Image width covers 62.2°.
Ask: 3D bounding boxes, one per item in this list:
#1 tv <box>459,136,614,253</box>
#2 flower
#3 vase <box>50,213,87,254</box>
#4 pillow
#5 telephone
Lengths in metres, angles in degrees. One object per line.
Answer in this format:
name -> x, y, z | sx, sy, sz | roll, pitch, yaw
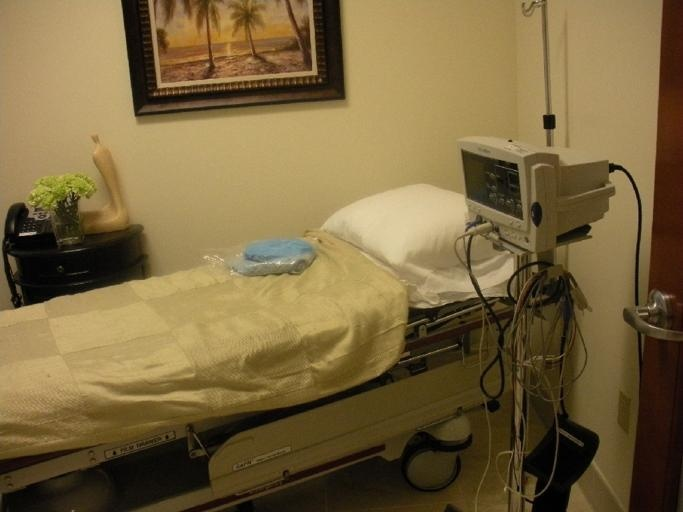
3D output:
tv -> 0.661, -0.252, 1.920 | 0.391, 0.332, 0.443 | -16, 24, -20
flower -> -1.402, -0.313, 2.928 | 0.257, 0.179, 0.254 | 0, 11, 31
vase -> -1.443, -0.161, 2.940 | 0.133, 0.213, 0.139 | -1, 10, 43
pillow -> 0.415, -0.101, 2.532 | 0.657, 0.198, 0.500 | -15, 35, -27
telephone -> -1.607, -0.018, 2.902 | 0.234, 0.426, 0.374 | -7, 37, -27
